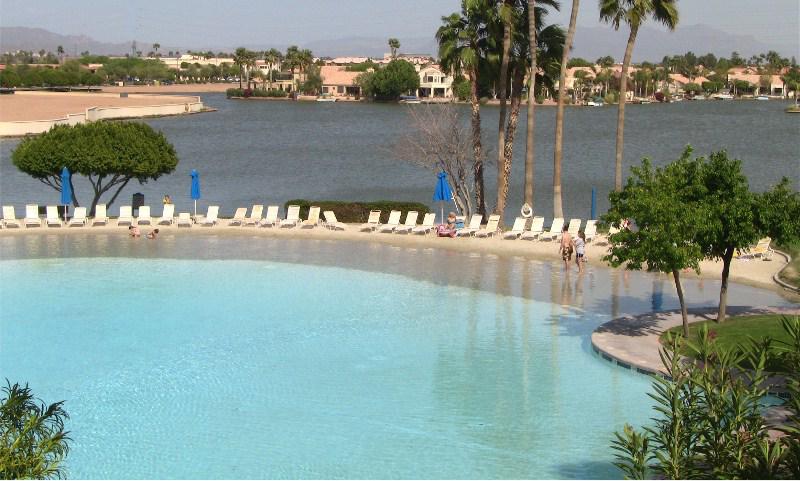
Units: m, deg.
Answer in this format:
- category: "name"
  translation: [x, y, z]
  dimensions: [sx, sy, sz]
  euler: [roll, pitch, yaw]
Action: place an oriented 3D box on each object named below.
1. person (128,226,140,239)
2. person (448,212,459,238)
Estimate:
- category: "person"
  translation: [-12.900, -0.360, 37.680]
  dimensions: [0.542, 0.338, 0.746]
  euler: [-8, 27, -18]
- category: "person"
  translation: [2.610, -0.777, 37.240]
  dimensions: [0.445, 1.197, 1.253]
  euler: [0, 8, 7]
